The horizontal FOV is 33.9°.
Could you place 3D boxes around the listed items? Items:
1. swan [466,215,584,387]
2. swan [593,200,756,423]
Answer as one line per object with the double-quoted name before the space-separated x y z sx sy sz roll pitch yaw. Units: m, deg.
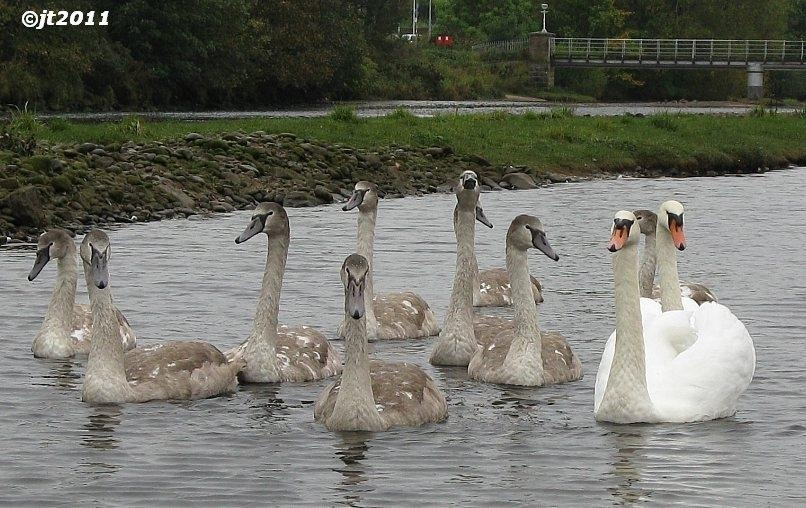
"swan" 1.889 0.720 20.703 1.703 2.612 0.784 0 10 3
"swan" 3.896 0.910 19.395 2.144 3.060 0.899 1 10 7
